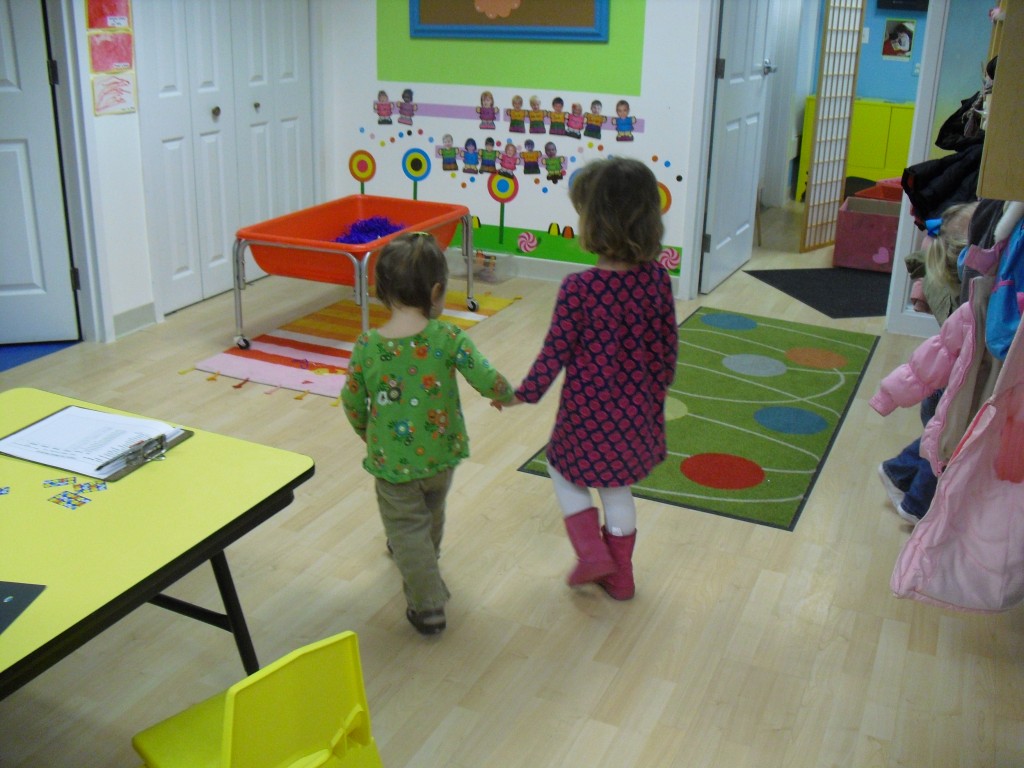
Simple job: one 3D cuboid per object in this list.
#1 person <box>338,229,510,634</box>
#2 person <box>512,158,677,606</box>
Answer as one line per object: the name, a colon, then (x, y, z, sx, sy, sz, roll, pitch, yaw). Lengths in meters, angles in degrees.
person: (-0.252, 0.163, 2.319, 0.490, 1.196, 0.336, 2, 22, 5)
person: (0.262, 0.011, 2.422, 0.510, 1.402, 0.334, -1, 21, -3)
